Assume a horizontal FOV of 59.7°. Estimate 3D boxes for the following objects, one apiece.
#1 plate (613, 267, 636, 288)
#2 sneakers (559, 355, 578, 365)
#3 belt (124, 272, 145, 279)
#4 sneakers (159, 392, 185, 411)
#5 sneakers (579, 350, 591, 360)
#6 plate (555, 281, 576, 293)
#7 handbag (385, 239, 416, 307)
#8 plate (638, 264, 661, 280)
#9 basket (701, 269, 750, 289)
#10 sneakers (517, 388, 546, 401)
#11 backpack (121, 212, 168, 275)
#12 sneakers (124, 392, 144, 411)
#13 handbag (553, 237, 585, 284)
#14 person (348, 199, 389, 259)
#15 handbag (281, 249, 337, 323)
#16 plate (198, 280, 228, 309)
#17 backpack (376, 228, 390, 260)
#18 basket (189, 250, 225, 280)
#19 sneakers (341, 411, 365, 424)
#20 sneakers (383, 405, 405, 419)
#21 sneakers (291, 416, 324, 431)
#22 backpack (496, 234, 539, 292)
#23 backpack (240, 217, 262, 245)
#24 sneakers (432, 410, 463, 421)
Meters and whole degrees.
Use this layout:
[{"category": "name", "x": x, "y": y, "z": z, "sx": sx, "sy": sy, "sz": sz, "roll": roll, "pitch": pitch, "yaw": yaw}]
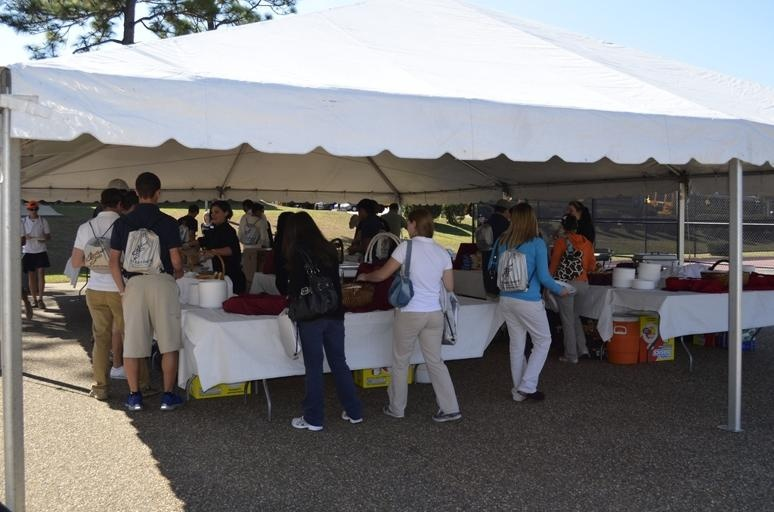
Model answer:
[{"category": "plate", "x": 2.985, "y": 0.257, "z": 8.476, "sx": 0.240, "sy": 0.225, "sz": 0.236, "roll": 0, "pitch": 1, "yaw": -8}, {"category": "sneakers", "x": 2.347, "y": 1.332, "z": 8.715, "sx": 0.239, "sy": 0.107, "sz": 0.099, "roll": 10, "pitch": 8, "yaw": 39}, {"category": "belt", "x": -2.507, "y": 0.177, "z": 6.652, "sx": 0.113, "sy": 0.059, "sz": 0.157, "roll": -2, "pitch": -3, "yaw": -5}, {"category": "sneakers", "x": -2.234, "y": 1.492, "z": 7.002, "sx": 0.120, "sy": 0.163, "sz": 0.326, "roll": 3, "pitch": 5, "yaw": 25}, {"category": "sneakers", "x": 2.612, "y": 1.308, "z": 8.891, "sx": 0.134, "sy": 0.138, "sz": 0.085, "roll": 4, "pitch": -4, "yaw": 3}, {"category": "plate", "x": 2.003, "y": 0.343, "z": 7.526, "sx": 0.236, "sy": 0.060, "sz": 0.241, "roll": 8, "pitch": 8, "yaw": -9}, {"category": "handbag", "x": 0.146, "y": 0.184, "z": 6.401, "sx": 0.264, "sy": 0.659, "sz": 0.161, "roll": -6, "pitch": 13, "yaw": -27}, {"category": "plate", "x": 3.322, "y": 0.180, "z": 8.538, "sx": 0.219, "sy": 0.187, "sz": 0.228, "roll": 4, "pitch": 3, "yaw": 30}, {"category": "basket", "x": 4.159, "y": 0.269, "z": 8.380, "sx": 0.495, "sy": 0.200, "sz": 0.593, "roll": 0, "pitch": 2, "yaw": 0}, {"category": "sneakers", "x": 1.554, "y": 1.477, "z": 7.268, "sx": 0.327, "sy": 0.146, "sz": 0.121, "roll": -3, "pitch": 5, "yaw": -7}, {"category": "backpack", "x": -2.275, "y": -0.132, "z": 6.625, "sx": 0.612, "sy": 0.664, "sz": 0.354, "roll": 1, "pitch": 2, "yaw": -12}, {"category": "sneakers", "x": -2.584, "y": 1.488, "z": 6.879, "sx": 0.119, "sy": 0.166, "sz": 0.261, "roll": 0, "pitch": 5, "yaw": -12}, {"category": "handbag", "x": 2.350, "y": 0.041, "z": 8.592, "sx": 0.389, "sy": 0.582, "sz": 0.306, "roll": -2, "pitch": 8, "yaw": 4}, {"category": "person", "x": -0.316, "y": -0.387, "z": 8.999, "sx": 0.424, "sy": 0.868, "sz": 0.630, "roll": -4, "pitch": 41, "yaw": -21}, {"category": "handbag", "x": -0.697, "y": 0.268, "z": 6.235, "sx": 0.519, "sy": 0.689, "sz": 0.332, "roll": -9, "pitch": 8, "yaw": 11}, {"category": "plate", "x": -1.792, "y": 0.381, "z": 6.899, "sx": 0.274, "sy": 0.248, "sz": 0.272, "roll": 1, "pitch": -1, "yaw": -34}, {"category": "backpack", "x": -0.002, "y": -0.130, "z": 8.422, "sx": 0.199, "sy": 0.314, "sz": 0.303, "roll": 2, "pitch": -5, "yaw": -8}, {"category": "basket", "x": -2.213, "y": 0.077, "z": 8.369, "sx": 0.488, "sy": 0.355, "sz": 0.488, "roll": -1, "pitch": 9, "yaw": -24}, {"category": "sneakers", "x": -0.352, "y": 1.606, "z": 6.714, "sx": 0.095, "sy": 0.104, "sz": 0.213, "roll": -2, "pitch": 7, "yaw": -32}, {"category": "sneakers", "x": 0.060, "y": 1.569, "z": 6.819, "sx": 0.089, "sy": 0.089, "sz": 0.188, "roll": -3, "pitch": 9, "yaw": -42}, {"category": "sneakers", "x": -0.763, "y": 1.603, "z": 6.552, "sx": 0.307, "sy": 0.148, "sz": 0.126, "roll": 11, "pitch": -3, "yaw": 0}, {"category": "backpack", "x": 1.330, "y": 0.080, "z": 7.098, "sx": 0.548, "sy": 0.712, "sz": 0.359, "roll": -2, "pitch": -3, "yaw": 29}, {"category": "backpack", "x": -2.288, "y": -0.444, "z": 11.292, "sx": 0.363, "sy": 0.523, "sz": 0.282, "roll": 1, "pitch": -26, "yaw": -14}, {"category": "sneakers", "x": 0.606, "y": 1.573, "z": 6.706, "sx": 0.249, "sy": 0.128, "sz": 0.112, "roll": 4, "pitch": -4, "yaw": -4}]
